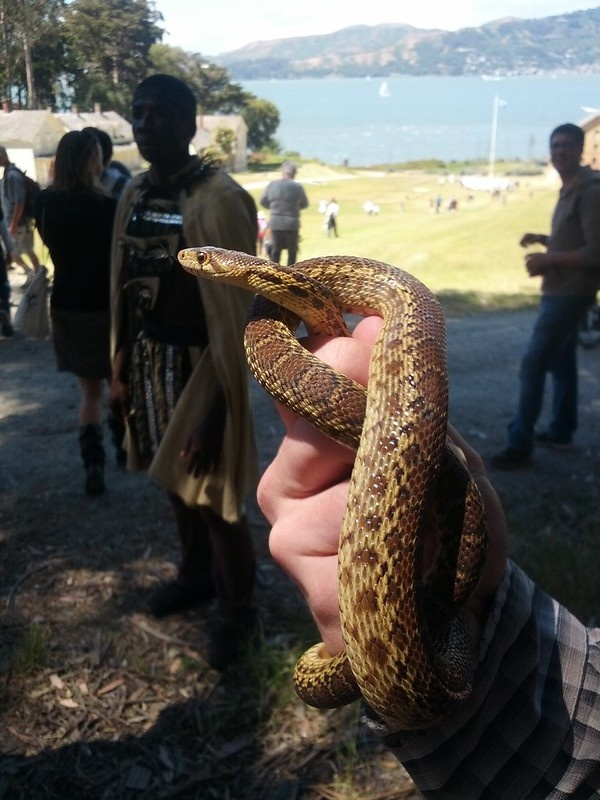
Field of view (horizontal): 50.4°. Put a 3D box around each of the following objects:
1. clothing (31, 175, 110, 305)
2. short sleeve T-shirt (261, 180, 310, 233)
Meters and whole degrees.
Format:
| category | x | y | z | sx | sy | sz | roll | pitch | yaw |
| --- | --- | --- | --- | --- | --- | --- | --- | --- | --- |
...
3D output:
| category | x | y | z | sx | sy | sz | roll | pitch | yaw |
| --- | --- | --- | --- | --- | --- | --- | --- | --- | --- |
| clothing | -1.514 | -1.012 | 4.329 | 0.545 | 0.814 | 0.262 | 2 | 19 | 6 |
| short sleeve T-shirt | -0.221 | -2.856 | 9.322 | 0.667 | 0.733 | 0.338 | -1 | 18 | -2 |
